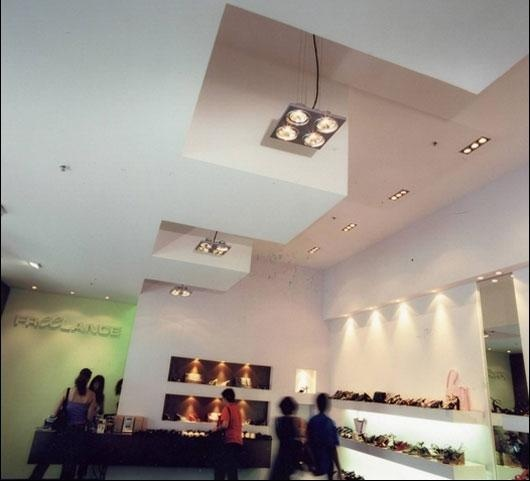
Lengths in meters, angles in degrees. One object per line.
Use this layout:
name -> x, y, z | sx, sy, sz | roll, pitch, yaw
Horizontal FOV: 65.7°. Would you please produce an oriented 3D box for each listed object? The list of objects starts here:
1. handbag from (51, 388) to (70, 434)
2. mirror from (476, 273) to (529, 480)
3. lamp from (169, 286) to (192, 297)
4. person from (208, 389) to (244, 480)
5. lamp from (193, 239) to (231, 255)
handbag -> -3.478, 2.937, 7.029 | 0.125, 0.557, 0.313 | 13, -25, -11
mirror -> 3.223, 1.716, 5.427 | 0.357, 2.553, 0.814 | 6, -22, -6
lamp -> -1.673, 1.011, 8.192 | 0.291, 0.208, 0.322 | 2, -2, 9
person -> -0.483, 2.562, 5.505 | 0.370, 1.090, 1.391 | 5, -23, -3
lamp -> -0.790, 0.103, 6.436 | 0.556, 0.184, 0.426 | 12, -25, -18
